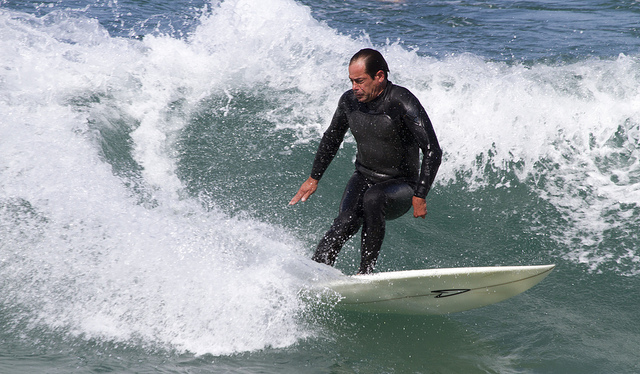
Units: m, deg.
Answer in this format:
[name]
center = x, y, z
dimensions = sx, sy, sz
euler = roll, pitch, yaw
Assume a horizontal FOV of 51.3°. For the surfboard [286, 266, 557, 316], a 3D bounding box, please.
[surfboard]
center = 1.384, 1.532, 9.771
dimensions = 5.936, 0.810, 0.520
euler = -1, 29, 5
